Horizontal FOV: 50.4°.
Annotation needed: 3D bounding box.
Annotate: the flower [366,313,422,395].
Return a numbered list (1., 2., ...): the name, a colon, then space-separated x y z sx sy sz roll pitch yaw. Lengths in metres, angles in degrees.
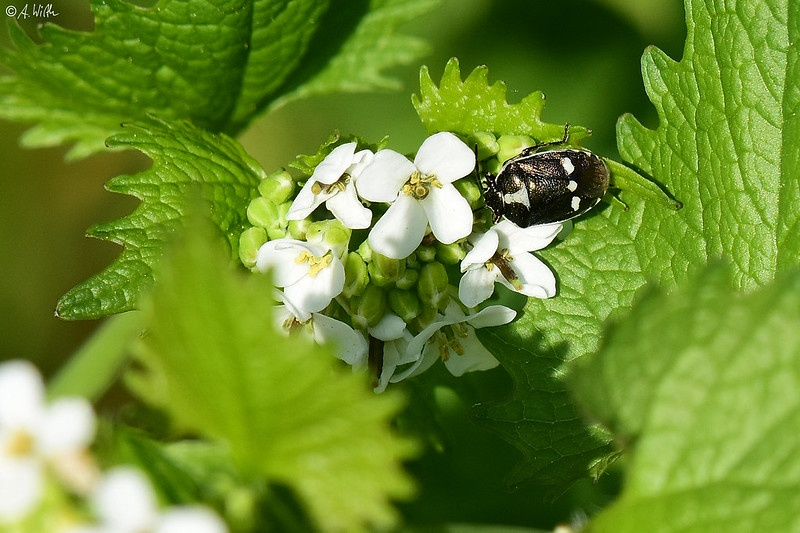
1. flower: -0.019 0.187 1.829 0.091 0.145 0.164 28 25 29

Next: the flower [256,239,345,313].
1. flower: -0.205 0.021 1.760 0.150 0.128 0.137 31 27 34

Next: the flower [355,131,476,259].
1. flower: 0.027 -0.169 1.812 0.258 0.258 0.084 53 -5 -27
